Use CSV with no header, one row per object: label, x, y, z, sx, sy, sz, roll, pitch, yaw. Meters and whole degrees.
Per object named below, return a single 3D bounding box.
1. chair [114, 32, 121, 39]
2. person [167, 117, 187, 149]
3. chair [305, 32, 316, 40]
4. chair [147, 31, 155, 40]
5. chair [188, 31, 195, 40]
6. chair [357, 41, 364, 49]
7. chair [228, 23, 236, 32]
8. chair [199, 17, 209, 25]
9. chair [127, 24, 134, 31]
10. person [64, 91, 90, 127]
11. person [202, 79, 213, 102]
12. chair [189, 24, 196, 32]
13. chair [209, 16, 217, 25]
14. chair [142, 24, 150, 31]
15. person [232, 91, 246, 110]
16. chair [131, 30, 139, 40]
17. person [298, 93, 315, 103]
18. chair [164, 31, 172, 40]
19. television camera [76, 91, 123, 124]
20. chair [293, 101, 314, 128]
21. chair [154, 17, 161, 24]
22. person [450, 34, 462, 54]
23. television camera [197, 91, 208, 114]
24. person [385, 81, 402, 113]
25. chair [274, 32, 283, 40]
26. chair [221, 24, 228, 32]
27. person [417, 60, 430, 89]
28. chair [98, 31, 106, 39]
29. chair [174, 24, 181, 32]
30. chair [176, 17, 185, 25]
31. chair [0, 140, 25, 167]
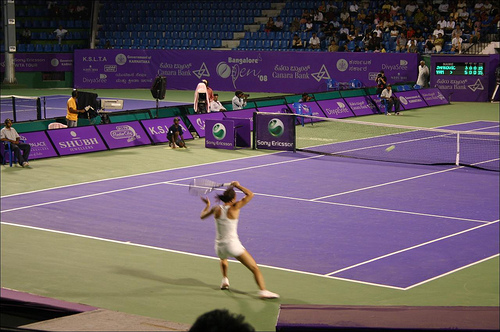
chair,-10.758,-10.669,42.466,0.508,0.529,0.499,-2,13,-21
person,-2.937,-1.361,20.830,0.706,1.134,0.784,-3,14,-10
chair,4.344,-9.404,37.654,0.415,0.512,0.554,6,15,22
chair,-7.980,-10.647,42.236,0.618,0.537,0.434,-1,14,-3
chair,-4.571,-10.314,41.143,0.519,0.634,0.688,-2,14,-7
chair,7.597,-8.354,35.906,0.354,0.514,0.584,2,-1,-23
chair,-1.344,-10.807,40.621,0.524,0.504,0.525,2,11,12
chair,-3.606,-11.692,41.735,0.757,0.464,0.403,1,14,5
chair,-9.854,-11.422,42.907,0.516,0.578,0.517,1,13,2
person,-6.969,-2.260,20.637,0.802,1.436,1.336,0,14,4
person,-1.955,-3.602,24.554,0.433,0.951,1.434,-2,14,-4
chair,-4.499,-11.021,41.490,0.442,0.492,0.274,-2,14,-5
chair,-2.884,-11.624,41.493,0.658,0.535,0.371,5,15,22
chair,-8.411,-11.302,42.696,0.781,0.752,0.422,1,9,5
person,-0.498,-3.118,24.522,0.609,0.849,0.573,-3,14,-10
chair,-9.291,-10.604,42.221,0.588,0.612,0.414,-4,15,-15
person,2.811,-3.377,25.938,0.723,0.769,0.253,16,61,21
chair,-6.528,-10.488,41.682,0.636,0.567,0.459,-3,14,-11
television camera,-6.341,-2.350,21.662,1.887,1.264,1.075,-7,-9,31
chair,2.635,-2.484,24.990,0.960,1.132,1.169,0,14,2
chair,-7.516,-11.963,42.772,0.505,0.514,0.413,1,14,5
person,13.007,-7.734,32.814,0.588,1.101,0.377,4,15,18
television camera,-2.167,-2.946,23.838,0.485,0.972,0.291,-2,14,-7
person,7.703,-3.914,28.242,0.745,1.090,1.574,3,15,14
chair,2.124,-9.643,38.634,0.543,0.582,0.504,1,-4,18
chair,-1.979,-10.817,40.789,0.516,0.524,0.523,0,14,1
person,10.606,-5.592,31.776,0.651,1.648,1.473,4,15,19
chair,-12.130,-10.794,42.822,0.643,0.544,0.296,3,15,14
chair,-5.715,-11.151,42.130,0.640,0.669,0.574,4,15,9
chair,-5.563,-11.746,42.205,0.615,0.622,0.496,1,14,5
chair,-8.111,-0.489,17.937,0.739,1.324,0.756,-4,12,-29
